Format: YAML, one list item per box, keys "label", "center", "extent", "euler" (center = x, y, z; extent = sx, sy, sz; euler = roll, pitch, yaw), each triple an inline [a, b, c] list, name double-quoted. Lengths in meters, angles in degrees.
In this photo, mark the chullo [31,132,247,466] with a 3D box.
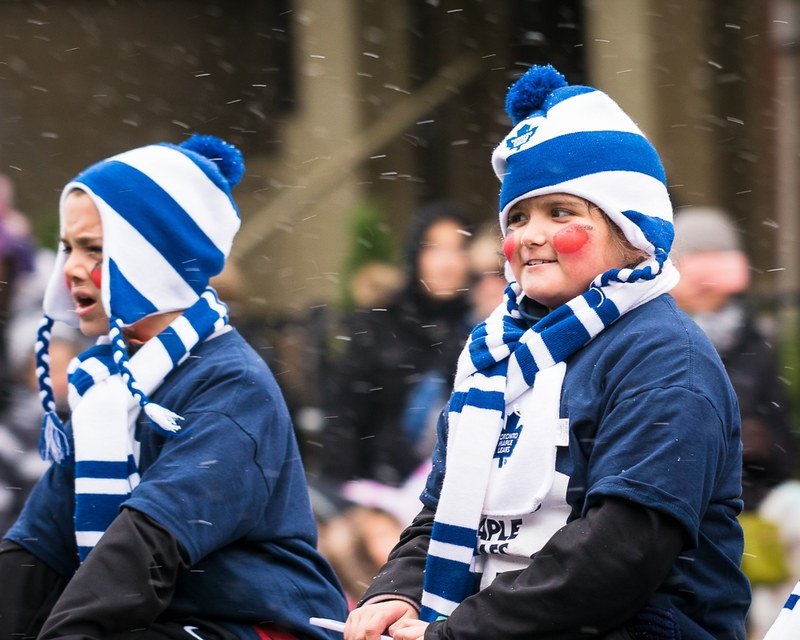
- label: "chullo"
  center: [-1.014, -0.197, 8.597]
  extent: [0.905, 1.224, 1.099]
  euler: [-5, -2, -26]
